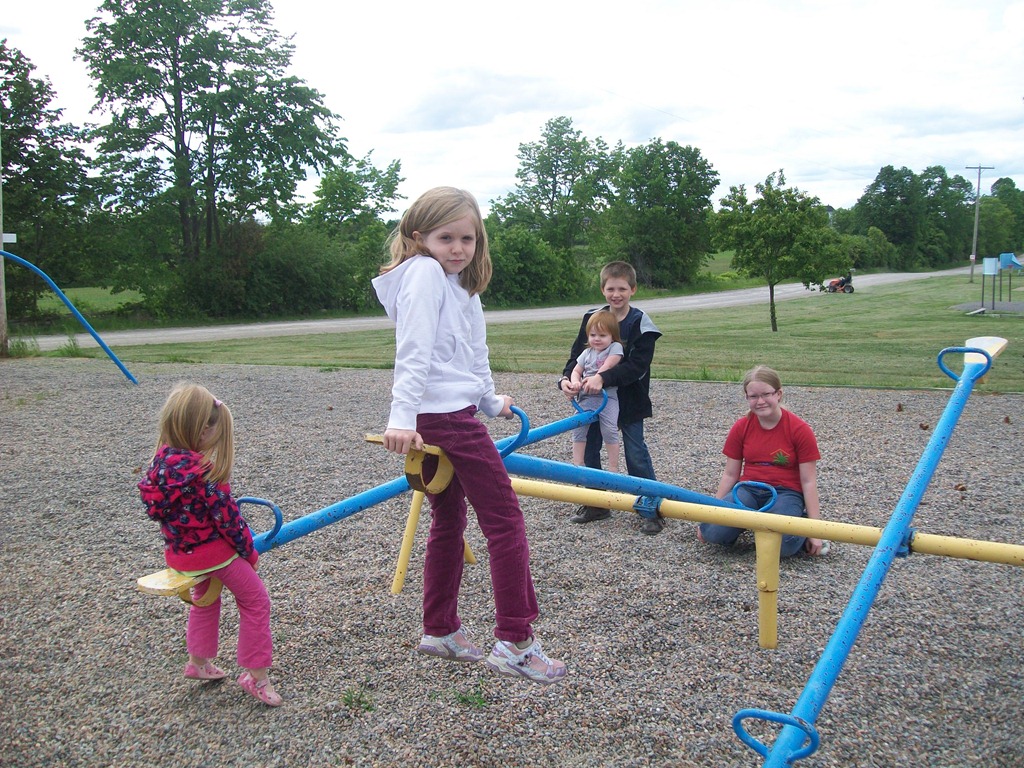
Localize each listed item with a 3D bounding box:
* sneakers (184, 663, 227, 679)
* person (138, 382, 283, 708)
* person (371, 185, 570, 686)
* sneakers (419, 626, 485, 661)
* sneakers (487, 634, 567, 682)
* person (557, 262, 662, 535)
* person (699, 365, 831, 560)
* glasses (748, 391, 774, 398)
[{"bbox_3d":[-1.382,1.291,4.441,0.160,0.059,0.078,1,5,-13],"label":"sneakers"},{"bbox_3d":[-1.315,0.715,4.476,0.614,1.431,0.581,5,11,8],"label":"person"},{"bbox_3d":[-0.242,0.237,4.391,0.754,2.176,0.807,-6,12,-19],"label":"person"},{"bbox_3d":[-0.277,1.199,4.643,0.332,0.151,0.116,8,3,-4],"label":"sneakers"},{"bbox_3d":[0.063,1.224,4.439,0.356,0.167,0.156,17,1,-5],"label":"sneakers"},{"bbox_3d":[0.653,0.049,6.337,0.616,1.626,1.420,-1,11,8],"label":"person"},{"bbox_3d":[1.454,0.451,5.711,0.585,1.048,0.638,-12,15,-41],"label":"person"},{"bbox_3d":[1.449,0.063,5.747,0.119,0.044,0.023,0,11,10],"label":"glasses"}]
